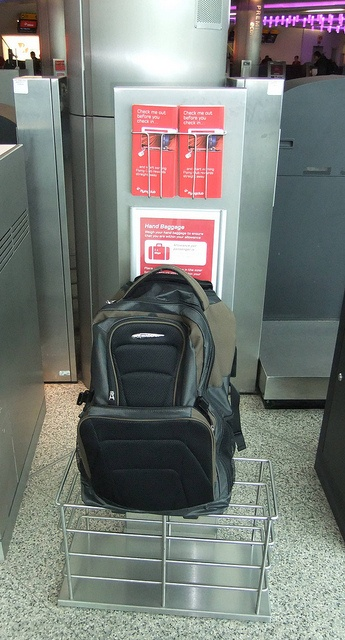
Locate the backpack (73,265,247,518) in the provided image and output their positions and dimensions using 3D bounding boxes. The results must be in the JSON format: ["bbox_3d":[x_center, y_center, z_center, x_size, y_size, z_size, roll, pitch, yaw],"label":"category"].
[{"bbox_3d":[-0.008,0.154,1.089,0.344,0.561,0.491,0,15,16],"label":"backpack"}]
